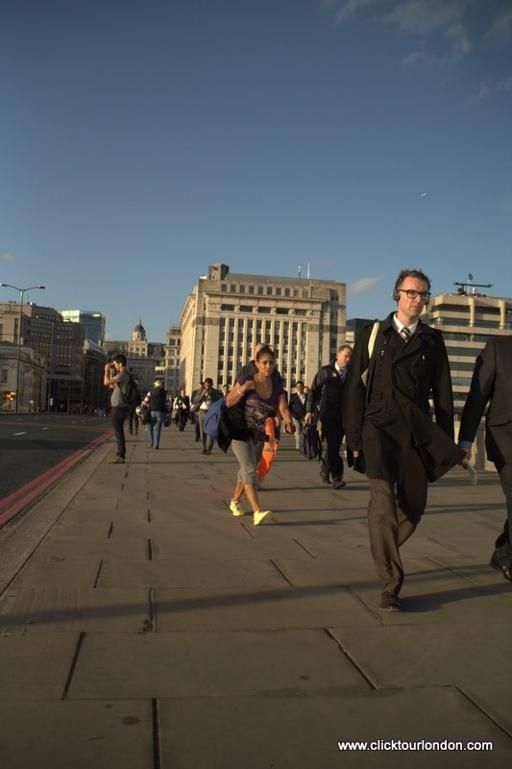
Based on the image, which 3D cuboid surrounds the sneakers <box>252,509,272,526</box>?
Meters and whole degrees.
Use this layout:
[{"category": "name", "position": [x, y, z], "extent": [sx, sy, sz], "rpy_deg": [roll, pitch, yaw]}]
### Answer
[{"category": "sneakers", "position": [0.024, 1.439, 5.824], "extent": [0.100, 0.123, 0.271], "rpy_deg": [13, -43, -45]}]

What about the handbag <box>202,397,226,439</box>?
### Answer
[{"category": "handbag", "position": [-0.476, 0.376, 5.998], "extent": [0.148, 0.410, 0.307], "rpy_deg": [13, 7, -12]}]

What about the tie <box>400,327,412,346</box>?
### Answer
[{"category": "tie", "position": [0.975, -0.305, 3.462], "extent": [0.031, 0.102, 0.104], "rpy_deg": [25, 28, -15]}]

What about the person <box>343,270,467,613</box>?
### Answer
[{"category": "person", "position": [0.920, 0.300, 3.407], "extent": [0.671, 2.134, 0.596], "rpy_deg": [1, 2, -26]}]
